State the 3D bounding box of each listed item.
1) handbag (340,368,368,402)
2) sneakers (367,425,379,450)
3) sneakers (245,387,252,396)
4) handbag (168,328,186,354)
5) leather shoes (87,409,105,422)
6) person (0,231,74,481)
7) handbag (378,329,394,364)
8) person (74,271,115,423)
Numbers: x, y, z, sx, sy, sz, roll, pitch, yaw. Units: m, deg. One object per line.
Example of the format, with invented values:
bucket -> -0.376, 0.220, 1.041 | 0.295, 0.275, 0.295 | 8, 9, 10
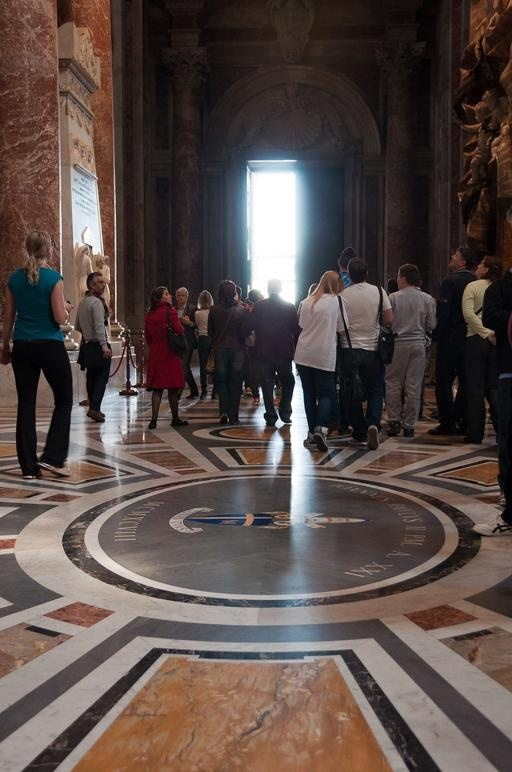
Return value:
handbag -> 0.903, -0.003, 5.792 | 0.261, 0.291, 0.249 | 1, 2, 16
sneakers -> 1.070, 0.452, 5.636 | 0.082, 0.250, 0.101 | 1, 28, 13
sneakers -> -0.141, 0.096, 11.383 | 0.117, 0.156, 0.129 | 2, 0, 0
handbag -> -0.907, -0.515, 7.055 | 0.140, 0.380, 0.278 | -3, -2, 21
leather shoes -> -1.949, 0.363, 7.591 | 0.259, 0.138, 0.214 | 1, 2, 11
person -> -1.639, -0.218, 4.590 | 0.597, 1.758, 0.371 | 1, 2, 23
handbag -> 1.216, -0.364, 5.794 | 0.153, 0.334, 0.159 | 0, 2, -4
person -> -2.108, -0.562, 8.033 | 0.436, 1.942, 1.111 | 0, 2, -17
